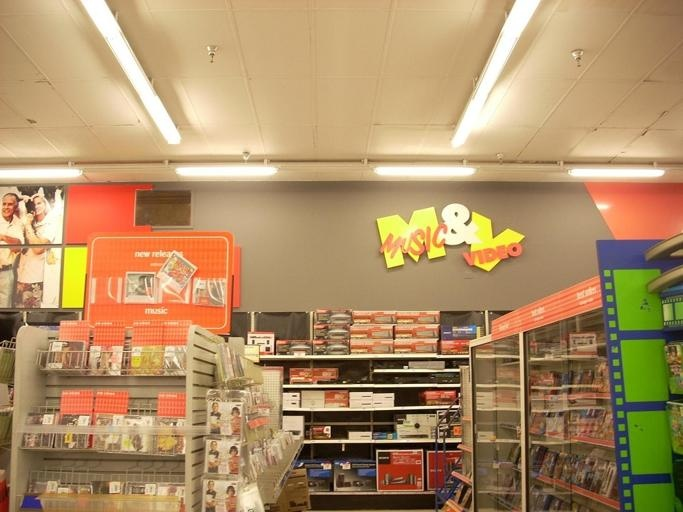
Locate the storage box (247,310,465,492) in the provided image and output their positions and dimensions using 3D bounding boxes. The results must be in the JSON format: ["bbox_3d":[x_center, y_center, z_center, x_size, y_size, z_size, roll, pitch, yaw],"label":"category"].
[{"bbox_3d":[0.297,2.120,7.998,3.155,2.083,0.974,0,-11,-1],"label":"storage box"}]
